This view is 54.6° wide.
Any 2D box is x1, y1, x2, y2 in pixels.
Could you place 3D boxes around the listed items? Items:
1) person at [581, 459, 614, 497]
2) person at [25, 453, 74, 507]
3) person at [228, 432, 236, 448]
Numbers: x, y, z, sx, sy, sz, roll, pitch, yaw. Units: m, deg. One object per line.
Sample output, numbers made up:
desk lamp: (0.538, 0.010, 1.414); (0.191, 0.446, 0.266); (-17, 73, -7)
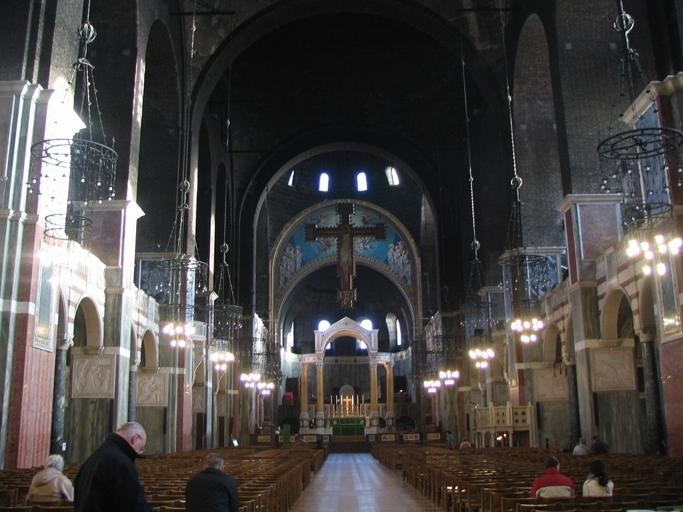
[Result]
person: (3.955, 3.632, 10.301); (0.471, 0.831, 0.578); (1, -14, 24)
person: (-4.507, 3.432, 10.250); (0.659, 0.667, 0.511); (4, -16, -27)
person: (-5.514, 9.264, 33.554); (0.458, 0.704, 2.178); (-1, -16, -9)
